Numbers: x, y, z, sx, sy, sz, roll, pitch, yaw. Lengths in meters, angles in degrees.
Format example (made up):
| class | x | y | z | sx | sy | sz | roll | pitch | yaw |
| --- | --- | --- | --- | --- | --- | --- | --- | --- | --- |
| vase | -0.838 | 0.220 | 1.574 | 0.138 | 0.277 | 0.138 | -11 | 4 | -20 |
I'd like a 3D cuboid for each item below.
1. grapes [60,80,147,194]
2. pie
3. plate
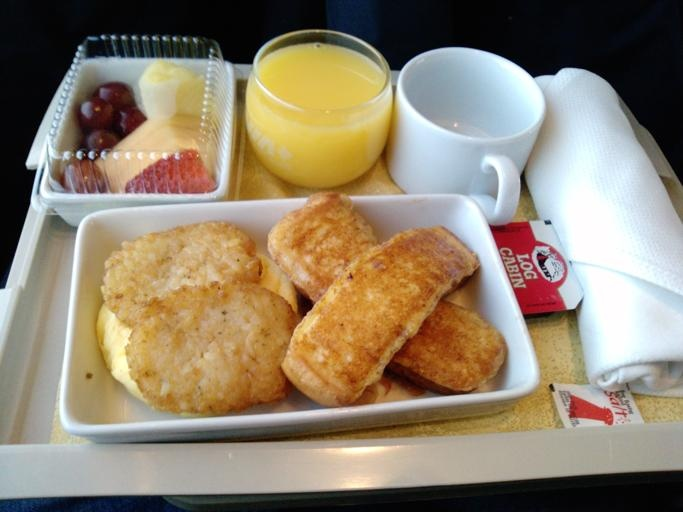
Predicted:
| class | x | y | z | sx | sy | sz | roll | pitch | yaw |
| --- | --- | --- | --- | --- | --- | --- | --- | --- | --- |
| grapes | -0.403 | -0.213 | 0.978 | 0.118 | 0.047 | 0.229 | 3 | 63 | -5 |
| pie | -0.062 | 0.062 | 0.864 | 0.612 | 0.137 | 0.326 | -3 | 64 | -8 |
| plate | -0.061 | 0.106 | 0.788 | 0.599 | 0.129 | 0.392 | 0 | 62 | -7 |
